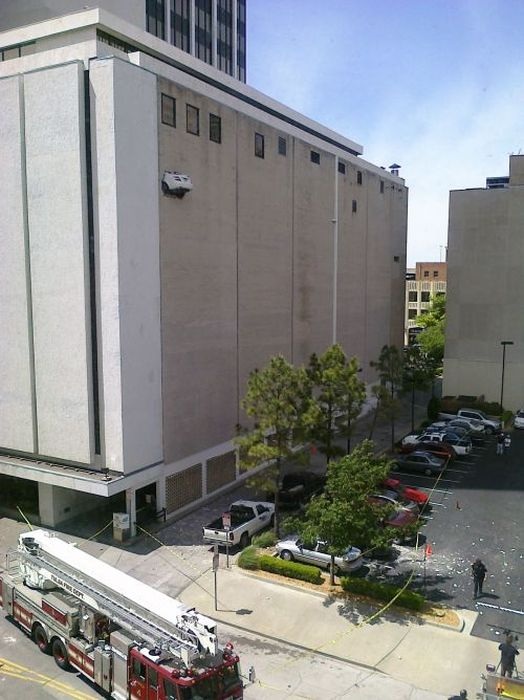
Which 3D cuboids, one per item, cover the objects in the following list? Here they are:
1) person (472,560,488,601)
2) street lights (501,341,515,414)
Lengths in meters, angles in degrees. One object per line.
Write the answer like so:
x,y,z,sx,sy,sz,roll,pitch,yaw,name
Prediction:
7.392,7.837,31.377,0.394,1.279,0.687,2,10,13,person
16.692,1.758,63.215,0.694,4.670,0.855,-2,10,-7,street lights
